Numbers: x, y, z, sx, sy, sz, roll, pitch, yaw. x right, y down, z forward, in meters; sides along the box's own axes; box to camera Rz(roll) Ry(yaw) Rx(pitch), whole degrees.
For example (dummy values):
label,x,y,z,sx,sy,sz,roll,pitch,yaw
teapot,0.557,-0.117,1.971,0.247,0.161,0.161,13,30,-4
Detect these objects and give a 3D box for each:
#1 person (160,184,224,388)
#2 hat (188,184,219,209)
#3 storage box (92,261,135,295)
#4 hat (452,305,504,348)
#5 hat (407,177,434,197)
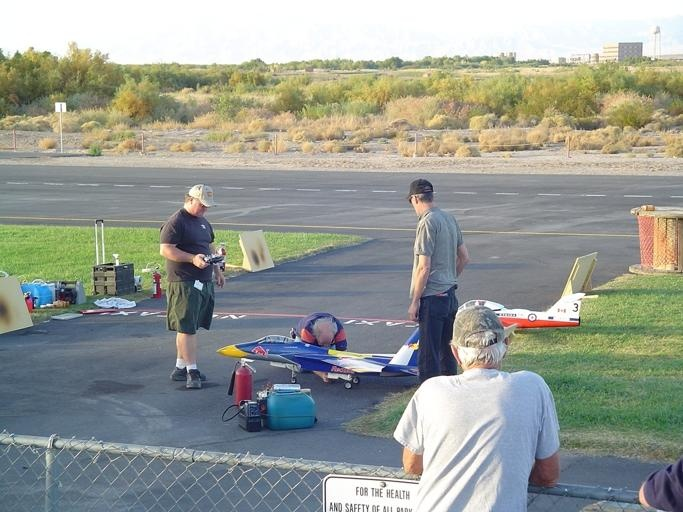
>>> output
label,x,y,z,sx,sy,sz,roll,pitch,yaw
person,-2.862,0.536,26.379,0.904,3.715,1.150,5,12,44
hat,-2.646,-1.143,26.417,0.495,0.420,0.393,0,9,16
storage box,-5.227,0.549,31.648,0.836,0.628,0.820,-1,5,16
hat,2.046,1.001,21.027,0.566,0.377,0.758,-1,17,5
hat,1.418,-1.269,25.207,0.414,0.301,0.843,-2,8,6
